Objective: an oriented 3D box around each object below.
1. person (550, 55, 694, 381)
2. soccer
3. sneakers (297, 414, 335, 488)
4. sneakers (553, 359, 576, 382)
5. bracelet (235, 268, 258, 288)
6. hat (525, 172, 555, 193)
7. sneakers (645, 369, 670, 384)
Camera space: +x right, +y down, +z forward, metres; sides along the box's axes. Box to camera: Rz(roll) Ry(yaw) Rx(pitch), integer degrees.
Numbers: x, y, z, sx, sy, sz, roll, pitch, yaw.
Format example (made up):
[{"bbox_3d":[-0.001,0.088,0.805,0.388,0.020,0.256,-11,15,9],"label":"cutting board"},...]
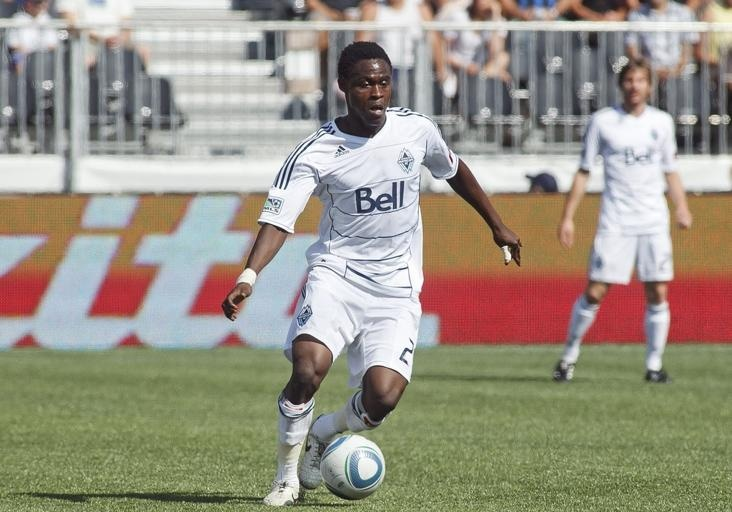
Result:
[{"bbox_3d":[2.563,-0.313,17.046,1.220,3.130,0.795,3,13,6],"label":"person"},{"bbox_3d":[-0.110,1.728,14.188,0.520,0.520,0.292,1,13,-1],"label":"soccer"},{"bbox_3d":[-0.441,1.650,14.486,0.221,0.681,0.270,6,-4,-17],"label":"sneakers"},{"bbox_3d":[1.961,1.135,17.116,0.189,0.261,0.158,0,34,-34],"label":"sneakers"},{"bbox_3d":[-0.951,0.181,13.979,0.133,0.127,0.164,20,-12,-1],"label":"bracelet"},{"bbox_3d":[1.872,-0.758,18.499,0.258,0.134,0.188,26,12,20],"label":"hat"},{"bbox_3d":[2.857,1.182,17.034,0.226,0.096,0.112,-2,5,-44],"label":"sneakers"}]
